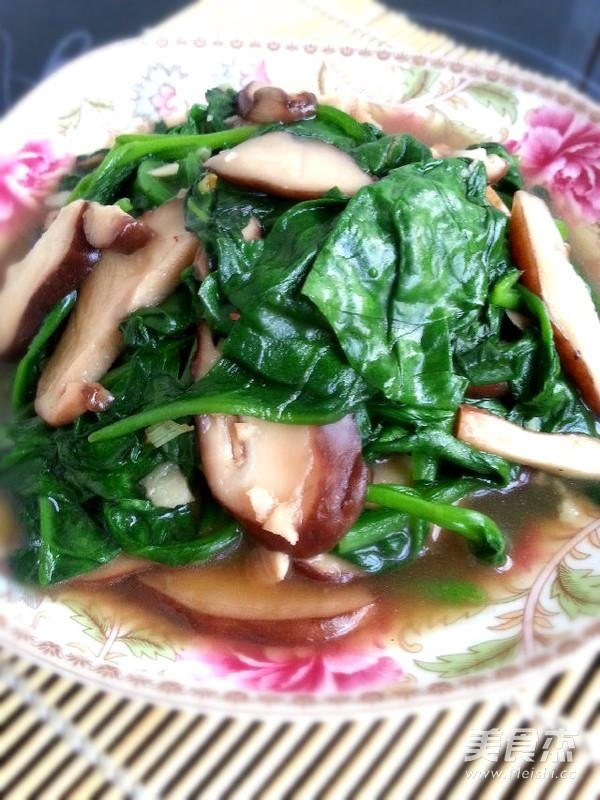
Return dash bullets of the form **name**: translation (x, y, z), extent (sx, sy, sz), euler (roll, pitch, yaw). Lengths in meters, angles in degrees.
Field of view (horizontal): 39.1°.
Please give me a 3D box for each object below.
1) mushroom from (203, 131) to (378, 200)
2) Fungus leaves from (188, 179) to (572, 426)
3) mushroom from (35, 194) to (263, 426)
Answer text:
- **mushroom**: translation (-0.026, -0.770, 2.793), extent (0.588, 0.094, 0.258), euler (3, 55, 4)
- **Fungus leaves**: translation (0.294, -0.277, 2.481), extent (1.380, 0.724, 0.627), euler (-2, 19, 5)
- **mushroom**: translation (-0.629, -0.301, 2.817), extent (0.903, 0.233, 0.558), euler (-51, 37, -6)
